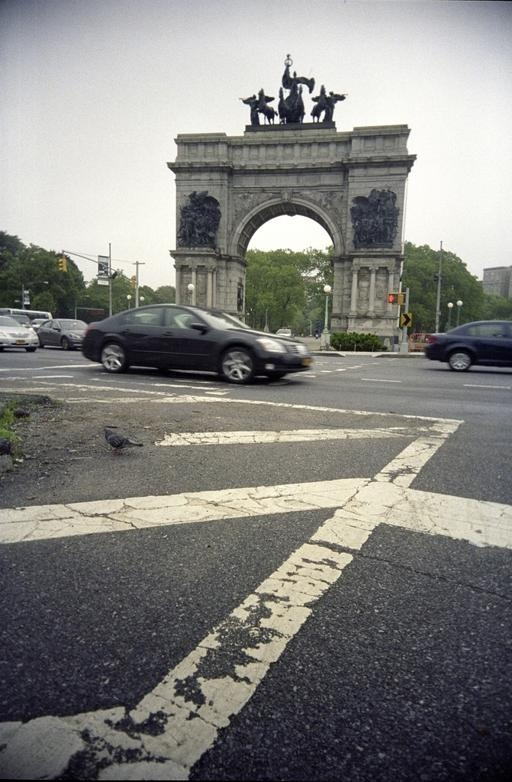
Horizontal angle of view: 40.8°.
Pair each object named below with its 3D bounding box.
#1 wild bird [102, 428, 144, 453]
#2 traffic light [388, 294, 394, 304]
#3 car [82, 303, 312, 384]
[{"bbox_3d":[-0.976,0.360,5.025,0.287,0.193,0.113,3,8,29],"label":"wild bird"},{"bbox_3d":[6.735,-4.621,34.067,0.354,0.394,1.086,3,10,12],"label":"traffic light"},{"bbox_3d":[-1.039,-0.753,10.742,3.668,1.156,0.616,6,10,28],"label":"car"}]
